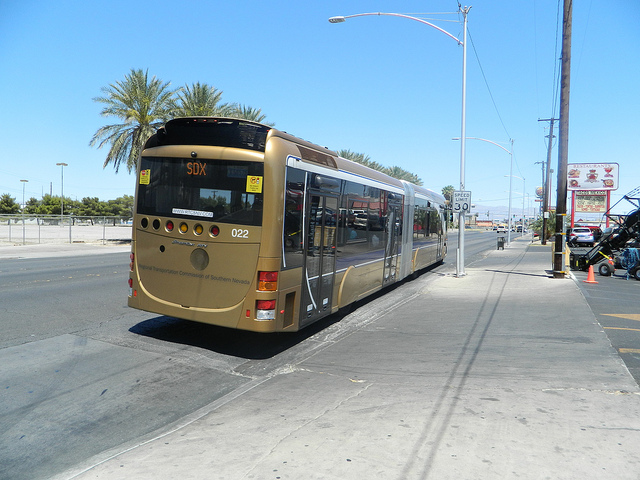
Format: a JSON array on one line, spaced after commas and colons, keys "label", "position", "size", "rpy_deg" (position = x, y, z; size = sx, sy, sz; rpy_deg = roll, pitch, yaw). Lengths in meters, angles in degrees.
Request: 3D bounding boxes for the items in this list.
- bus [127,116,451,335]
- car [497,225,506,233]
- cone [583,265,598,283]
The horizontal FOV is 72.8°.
[{"label": "bus", "position": [0.815, -0.161, 13.947], "size": [3.726, 4.226, 14.365], "rpy_deg": [2, -1, 29]}, {"label": "car", "position": [48.378, -2.868, 115.486], "size": [2.657, 2.533, 5.169], "rpy_deg": [2, 10, 24]}, {"label": "cone", "position": [11.010, 1.373, 17.586], "size": [0.570, 0.774, 0.562], "rpy_deg": [1, 1, -23]}]
